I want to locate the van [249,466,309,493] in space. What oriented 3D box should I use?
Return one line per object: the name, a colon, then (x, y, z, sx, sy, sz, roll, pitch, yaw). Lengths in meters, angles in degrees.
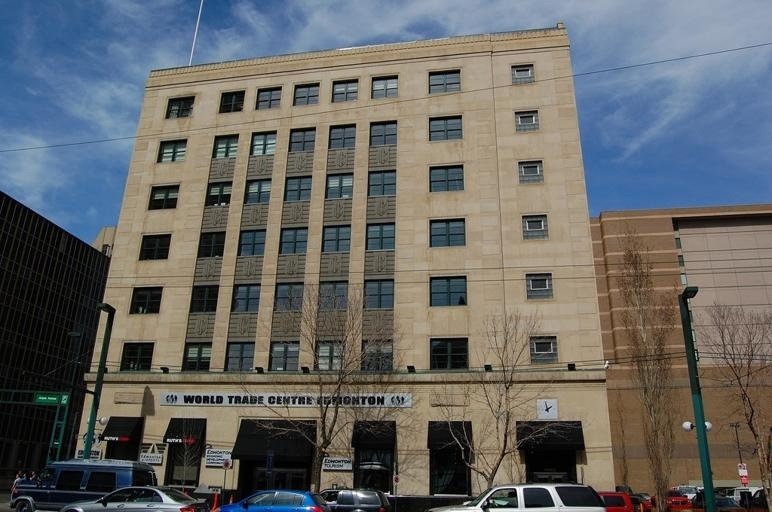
van: (-8.573, 17.996, 57.150, 4.554, 1.747, 1.002, -6, -24, 17)
